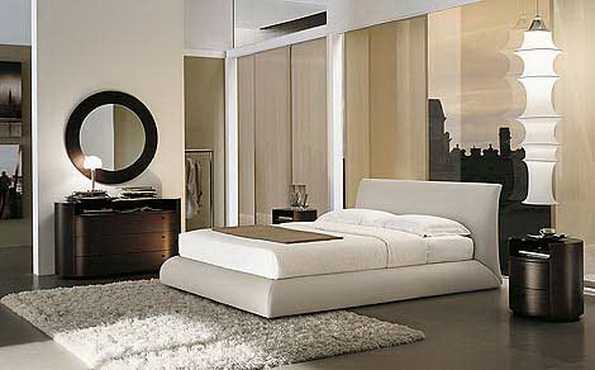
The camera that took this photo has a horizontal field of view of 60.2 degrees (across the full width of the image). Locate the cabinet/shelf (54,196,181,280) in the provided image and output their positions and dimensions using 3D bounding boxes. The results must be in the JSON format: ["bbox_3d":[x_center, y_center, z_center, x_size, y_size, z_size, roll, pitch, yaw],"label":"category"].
[{"bbox_3d":[-2.484,0.725,7.305,1.699,1.076,0.588,-1,1,-31],"label":"cabinet/shelf"}]

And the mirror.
[{"bbox_3d":[-2.785,-0.691,7.498,1.445,1.509,0.159,0,1,-11],"label":"mirror"}]

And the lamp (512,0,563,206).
[{"bbox_3d":[2.770,-0.666,5.948,0.471,1.797,0.303,3,10,21],"label":"lamp"}]

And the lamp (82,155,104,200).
[{"bbox_3d":[-2.883,-0.130,7.267,0.254,0.542,0.440,-4,9,-22],"label":"lamp"}]

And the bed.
[{"bbox_3d":[0.655,0.786,5.811,2.467,0.970,2.053,1,-1,-33],"label":"bed"}]

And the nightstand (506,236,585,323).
[{"bbox_3d":[2.423,0.916,5.384,0.829,0.910,0.814,2,-3,-29],"label":"nightstand"}]
